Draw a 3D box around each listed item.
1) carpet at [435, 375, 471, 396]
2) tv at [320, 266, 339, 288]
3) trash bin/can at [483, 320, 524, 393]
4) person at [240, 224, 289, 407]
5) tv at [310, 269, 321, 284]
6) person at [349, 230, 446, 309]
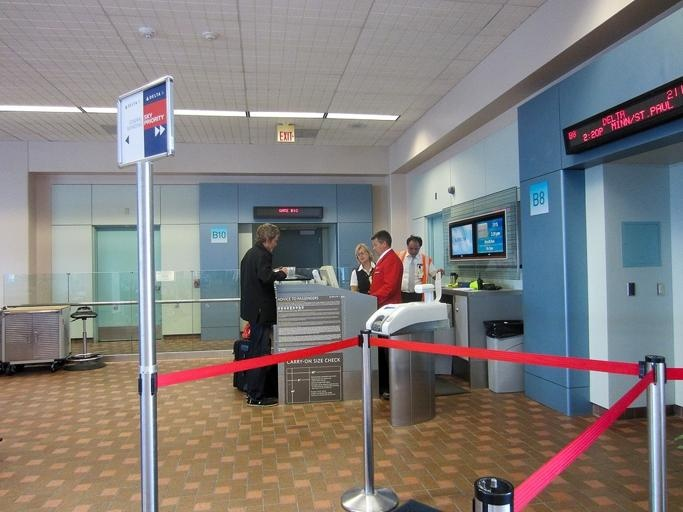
[{"bbox_3d":[1.439,1.653,6.412,0.422,0.085,0.928,-1,5,10],"label":"carpet"},{"bbox_3d":[-0.099,0.245,6.610,0.220,0.323,0.437,-13,5,-13],"label":"tv"},{"bbox_3d":[2.037,1.217,6.164,0.463,0.857,0.368,0,4,15],"label":"trash bin/can"},{"bbox_3d":[-0.922,0.666,5.960,0.539,2.104,0.511,-2,4,-7],"label":"person"},{"bbox_3d":[-0.353,0.271,6.895,0.165,0.302,0.033,-3,35,10],"label":"tv"},{"bbox_3d":[0.773,0.157,6.452,0.562,1.010,1.697,0,5,15],"label":"person"}]
